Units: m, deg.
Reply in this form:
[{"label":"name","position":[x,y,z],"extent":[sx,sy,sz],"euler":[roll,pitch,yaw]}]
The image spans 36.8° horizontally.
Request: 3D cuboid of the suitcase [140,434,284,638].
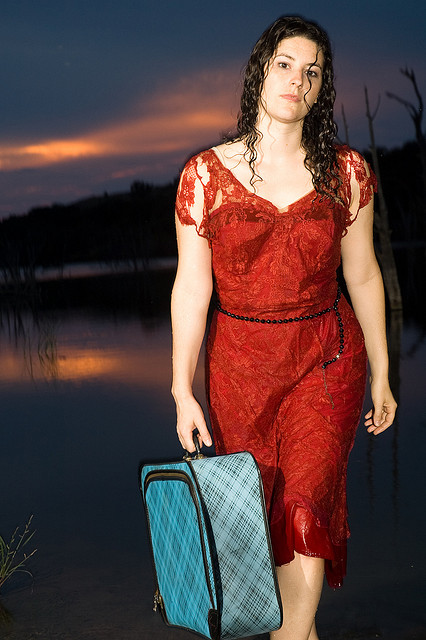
[{"label":"suitcase","position":[-0.005,0.411,1.190],"extent":[0.201,0.354,0.265],"euler":[-10,12,-25]}]
